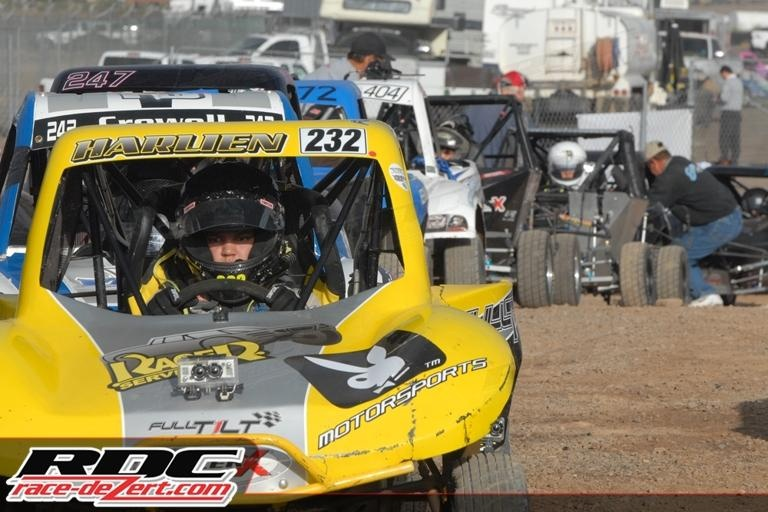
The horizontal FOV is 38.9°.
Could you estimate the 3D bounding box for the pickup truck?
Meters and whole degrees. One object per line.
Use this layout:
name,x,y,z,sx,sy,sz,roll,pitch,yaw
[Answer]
pickup truck,-1.849,-3.762,20.207,2.563,1.203,1.349,3,10,5

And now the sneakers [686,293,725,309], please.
sneakers,3.339,0.486,11.301,0.310,0.092,0.201,-6,2,5

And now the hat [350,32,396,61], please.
hat,-0.056,-2.201,11.758,0.659,0.308,0.474,-5,8,-24

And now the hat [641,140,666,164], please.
hat,3.017,-1.155,12.376,0.293,0.136,0.226,-19,4,38

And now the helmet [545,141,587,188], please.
helmet,1.986,-0.968,11.960,0.448,0.461,0.511,-2,11,-2
